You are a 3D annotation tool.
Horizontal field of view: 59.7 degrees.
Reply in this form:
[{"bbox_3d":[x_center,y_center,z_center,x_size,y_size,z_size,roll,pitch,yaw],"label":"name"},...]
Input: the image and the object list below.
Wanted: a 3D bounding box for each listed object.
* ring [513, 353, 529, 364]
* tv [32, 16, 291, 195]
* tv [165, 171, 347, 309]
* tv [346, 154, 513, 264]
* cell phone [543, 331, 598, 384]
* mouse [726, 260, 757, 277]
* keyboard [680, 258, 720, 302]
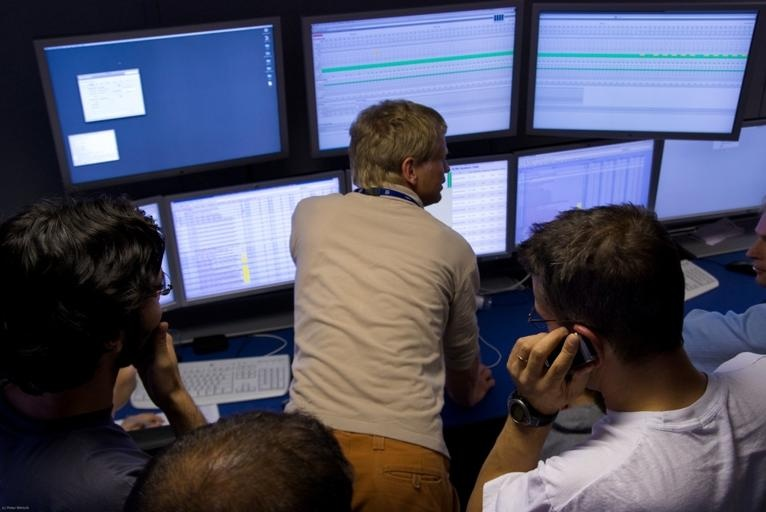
[{"bbox_3d":[0.391,0.288,1.877,0.025,0.022,0.028,-4,-3,37],"label":"ring"},{"bbox_3d":[-0.868,-0.597,2.542,0.809,0.552,0.055,-9,29,-12],"label":"tv"},{"bbox_3d":[-0.512,-0.083,2.608,0.546,0.332,0.020,-12,19,-12],"label":"tv"},{"bbox_3d":[0.158,-0.194,2.464,0.488,0.488,0.048,-1,15,-6],"label":"tv"},{"bbox_3d":[0.497,0.255,1.765,0.114,0.116,0.028,44,25,28],"label":"cell phone"},{"bbox_3d":[1.625,0.050,3.048,0.174,0.042,0.102,0,26,40],"label":"mouse"},{"bbox_3d":[1.337,0.108,2.826,0.149,0.037,0.153,-16,33,-20],"label":"keyboard"}]
